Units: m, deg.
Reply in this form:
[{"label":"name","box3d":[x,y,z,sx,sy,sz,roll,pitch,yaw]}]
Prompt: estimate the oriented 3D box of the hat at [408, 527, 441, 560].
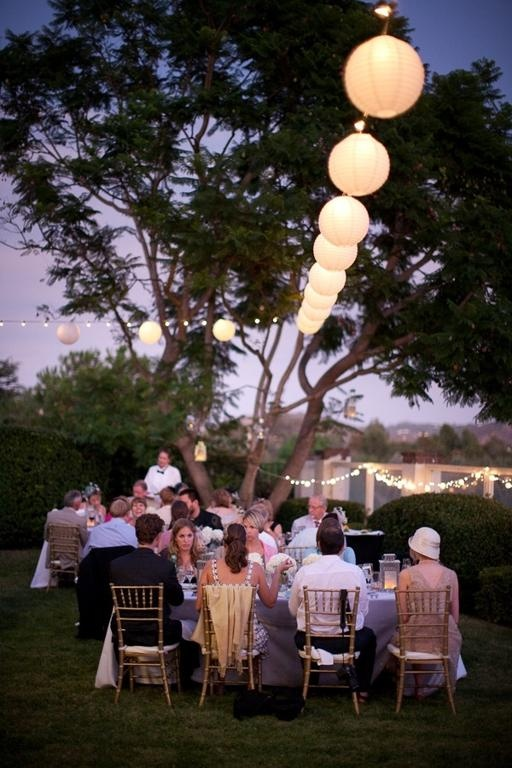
[{"label":"hat","box3d":[1.216,1.154,6.835,0.204,0.222,0.200,1,3,4]}]
